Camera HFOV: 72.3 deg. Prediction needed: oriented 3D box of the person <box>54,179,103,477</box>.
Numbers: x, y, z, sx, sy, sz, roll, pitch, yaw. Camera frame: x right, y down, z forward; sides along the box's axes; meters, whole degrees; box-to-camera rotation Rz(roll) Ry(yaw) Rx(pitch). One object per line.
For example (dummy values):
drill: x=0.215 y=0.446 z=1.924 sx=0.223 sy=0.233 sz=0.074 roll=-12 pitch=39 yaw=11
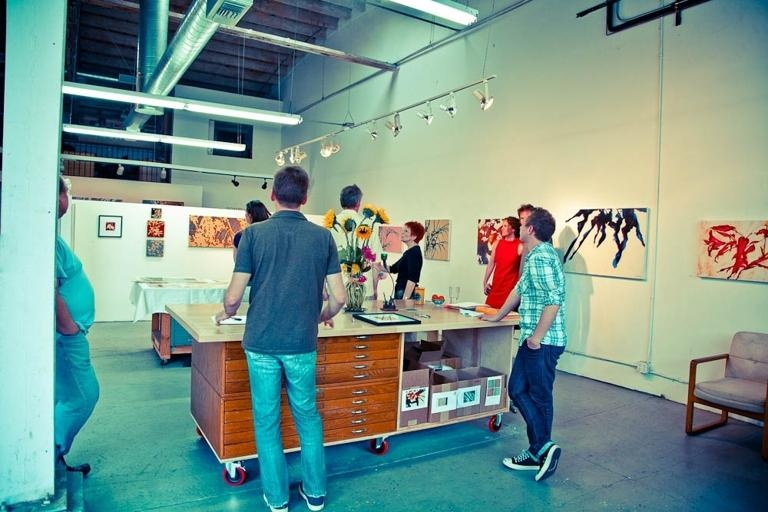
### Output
person: x=-2.511 y=0.658 z=4.259 sx=0.324 sy=2.542 sz=0.649 roll=-4 pitch=12 yaw=-29

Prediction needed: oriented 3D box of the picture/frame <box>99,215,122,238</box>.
picture/frame: x=-5.176 y=-0.573 z=9.938 sx=0.421 sy=0.438 sz=0.043 roll=3 pitch=-2 yaw=-32

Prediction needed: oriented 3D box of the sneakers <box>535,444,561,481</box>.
sneakers: x=1.466 y=1.863 z=4.761 sx=0.184 sy=0.342 sz=0.162 roll=4 pitch=10 yaw=11

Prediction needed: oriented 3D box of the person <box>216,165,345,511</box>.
person: x=-0.782 y=0.674 z=4.234 sx=0.937 sy=2.757 sz=0.574 roll=-1 pitch=11 yaw=-17

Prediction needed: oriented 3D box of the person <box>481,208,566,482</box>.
person: x=1.393 y=0.785 z=4.841 sx=0.558 sy=2.425 sz=0.652 roll=4 pitch=10 yaw=11

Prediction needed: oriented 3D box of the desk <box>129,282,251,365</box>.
desk: x=-3.115 y=0.815 z=7.646 sx=1.340 sy=0.880 sz=1.318 roll=1 pitch=15 yaw=-34

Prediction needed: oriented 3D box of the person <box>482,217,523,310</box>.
person: x=1.655 y=0.320 z=7.524 sx=0.445 sy=1.844 sz=0.314 roll=4 pitch=37 yaw=0

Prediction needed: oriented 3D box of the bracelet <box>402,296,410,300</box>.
bracelet: x=0.250 y=0.497 z=6.188 sx=0.045 sy=0.042 sz=0.044 roll=-3 pitch=9 yaw=-39

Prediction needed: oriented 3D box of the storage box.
storage box: x=0.624 y=1.335 z=5.399 sx=0.935 sy=0.616 sz=0.945 roll=0 pitch=7 yaw=-21
